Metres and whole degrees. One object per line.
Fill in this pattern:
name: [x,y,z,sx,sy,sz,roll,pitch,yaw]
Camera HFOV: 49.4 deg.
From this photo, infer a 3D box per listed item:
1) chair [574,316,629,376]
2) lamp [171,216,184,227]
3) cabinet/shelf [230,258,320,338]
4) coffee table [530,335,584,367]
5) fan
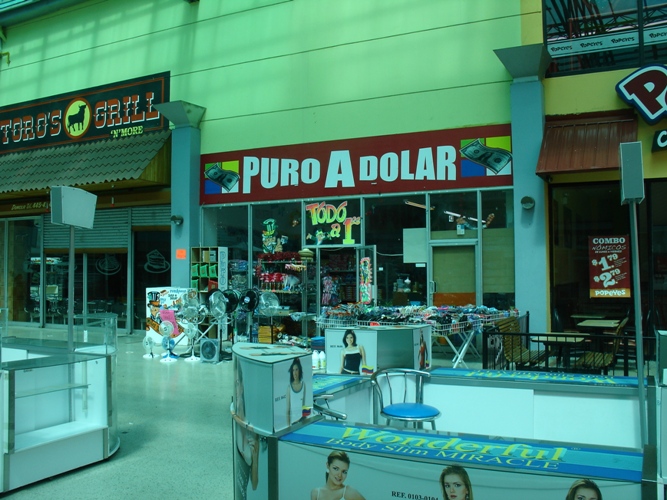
chair: [4.109,1.241,11.065,0.726,1.048,1.037,2,2,29]
lamp: [-3.403,-0.654,15.952,0.223,0.190,0.207,3,-5,20]
cabinet/shelf: [-1.095,1.011,14.758,1.549,1.934,0.606,2,-1,22]
coffee table: [3.585,1.600,11.560,0.453,0.369,0.741,-1,-2,24]
fan: [-2.707,1.415,14.415,2.116,1.096,3.088,-11,6,-30]
